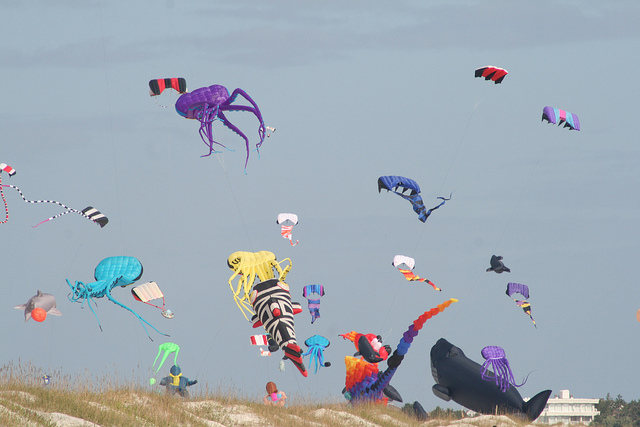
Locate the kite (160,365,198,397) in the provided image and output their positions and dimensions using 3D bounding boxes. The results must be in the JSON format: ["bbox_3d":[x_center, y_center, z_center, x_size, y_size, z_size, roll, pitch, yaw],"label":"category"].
[{"bbox_3d":[-5.722,6.790,49.818,1.700,0.708,1.941,6,15,-14],"label":"kite"}]

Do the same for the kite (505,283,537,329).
[{"bbox_3d":[7.945,3.547,49.186,1.044,0.247,2.809,10,31,-14],"label":"kite"}]

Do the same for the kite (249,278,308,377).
[{"bbox_3d":[-1.551,3.910,46.324,1.012,2.551,2.519,-6,19,-44],"label":"kite"}]

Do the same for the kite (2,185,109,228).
[{"bbox_3d":[-6.160,-0.068,30.486,1.376,1.090,1.008,4,-22,-25],"label":"kite"}]

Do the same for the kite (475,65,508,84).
[{"bbox_3d":[6.608,-5.351,48.911,1.094,0.648,2.710,9,14,7],"label":"kite"}]

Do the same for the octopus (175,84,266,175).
[{"bbox_3d":[-4.100,-2.975,48.432,3.857,1.882,3.723,-11,-2,19],"label":"octopus"}]

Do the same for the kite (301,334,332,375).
[{"bbox_3d":[-0.217,5.464,48.843,1.193,0.228,1.903,6,45,-2],"label":"kite"}]

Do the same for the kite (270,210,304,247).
[{"bbox_3d":[-1.321,0.663,50.499,0.995,0.423,1.496,4,45,-10],"label":"kite"}]

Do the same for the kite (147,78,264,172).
[{"bbox_3d":[-4.751,-3.823,50.570,4.888,2.024,5.120,23,2,8],"label":"kite"}]

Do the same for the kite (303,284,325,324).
[{"bbox_3d":[-0.280,3.583,50.401,0.927,0.161,1.763,-3,54,2],"label":"kite"}]

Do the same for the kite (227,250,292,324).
[{"bbox_3d":[-2.280,2.162,46.608,2.342,1.271,3.224,5,13,8],"label":"kite"}]

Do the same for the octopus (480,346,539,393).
[{"bbox_3d":[6.788,5.876,48.339,1.286,2.366,2.264,8,13,8],"label":"octopus"}]

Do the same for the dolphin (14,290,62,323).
[{"bbox_3d":[-10.927,3.395,48.832,1.848,1.017,2.036,6,10,1],"label":"dolphin"}]

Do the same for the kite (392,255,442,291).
[{"bbox_3d":[3.782,2.471,49.962,1.049,0.826,2.322,9,3,-41],"label":"kite"}]

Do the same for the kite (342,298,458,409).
[{"bbox_3d":[2.764,5.808,50.645,3.623,6.318,2.414,20,21,8],"label":"kite"}]
